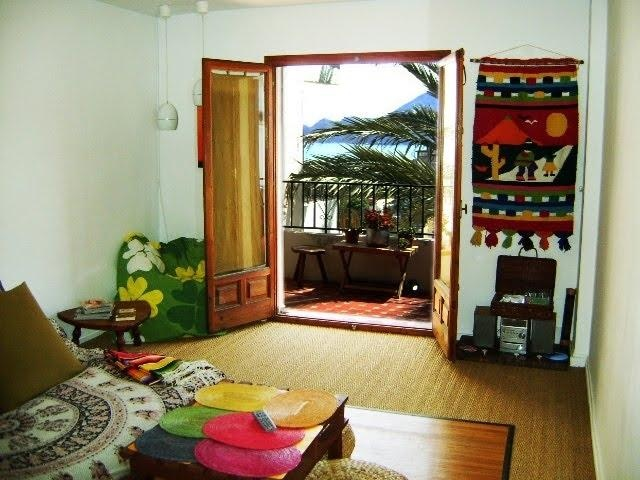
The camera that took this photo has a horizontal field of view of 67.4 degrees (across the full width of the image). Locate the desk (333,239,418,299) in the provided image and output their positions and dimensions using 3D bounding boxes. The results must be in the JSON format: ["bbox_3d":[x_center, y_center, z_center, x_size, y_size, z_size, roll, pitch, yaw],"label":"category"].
[{"bbox_3d":[0.814,0.329,6.888,1.403,0.766,0.753,3,6,29],"label":"desk"}]

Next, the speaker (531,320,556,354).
[{"bbox_3d":[2.095,0.891,4.521,0.190,0.359,0.060,2,13,13],"label":"speaker"}]

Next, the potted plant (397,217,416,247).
[{"bbox_3d":[1.187,-0.039,6.643,0.197,0.235,0.307,9,14,37],"label":"potted plant"}]

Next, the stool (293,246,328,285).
[{"bbox_3d":[-0.187,0.324,7.166,0.631,0.572,0.574,-4,4,-41],"label":"stool"}]

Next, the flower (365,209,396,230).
[{"bbox_3d":[0.838,-0.306,6.815,0.345,0.213,0.328,4,13,9],"label":"flower"}]

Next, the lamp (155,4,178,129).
[{"bbox_3d":[-1.766,-1.901,5.415,0.258,1.284,0.645,-4,13,-17],"label":"lamp"}]

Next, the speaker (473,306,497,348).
[{"bbox_3d":[1.643,0.843,4.771,0.234,0.438,0.329,4,13,20],"label":"speaker"}]

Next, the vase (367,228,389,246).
[{"bbox_3d":[0.810,-0.054,6.805,0.276,0.180,0.258,1,-4,-5],"label":"vase"}]
